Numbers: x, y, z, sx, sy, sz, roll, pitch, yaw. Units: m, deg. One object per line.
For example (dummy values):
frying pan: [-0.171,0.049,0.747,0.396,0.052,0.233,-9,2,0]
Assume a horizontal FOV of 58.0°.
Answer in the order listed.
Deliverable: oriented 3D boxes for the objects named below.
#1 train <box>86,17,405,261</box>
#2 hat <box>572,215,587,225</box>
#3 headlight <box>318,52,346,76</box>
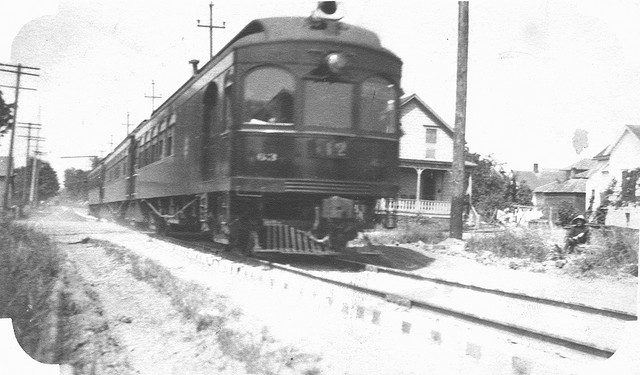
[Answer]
train: [-1.034,-0.680,9.162,4.245,3.688,1.367,2,-4,24]
hat: [4.090,0.516,9.090,0.194,0.154,0.137,2,-3,19]
headlight: [0.171,-1.832,8.519,0.384,0.307,0.109,3,-3,-4]
